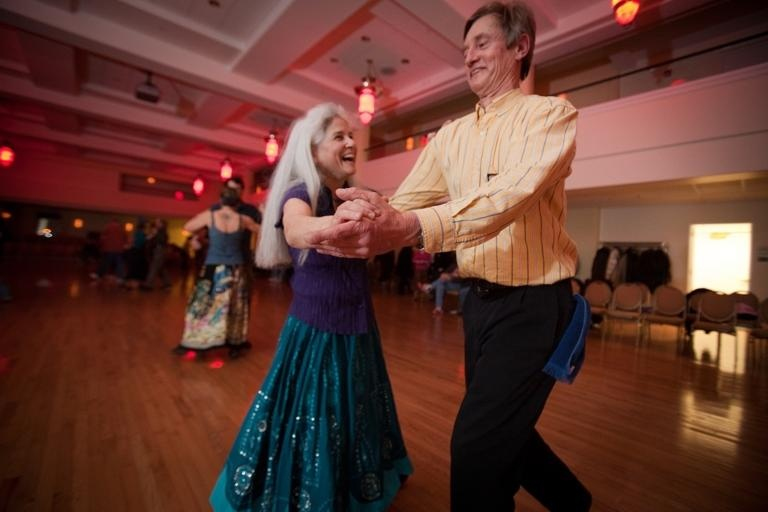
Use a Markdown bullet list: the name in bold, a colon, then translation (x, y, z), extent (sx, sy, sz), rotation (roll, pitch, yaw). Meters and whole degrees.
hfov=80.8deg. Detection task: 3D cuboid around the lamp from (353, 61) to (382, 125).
- **lamp**: translation (-0.321, -3.025, 8.287), extent (0.391, 1.217, 0.393), rotation (5, -3, -26)
